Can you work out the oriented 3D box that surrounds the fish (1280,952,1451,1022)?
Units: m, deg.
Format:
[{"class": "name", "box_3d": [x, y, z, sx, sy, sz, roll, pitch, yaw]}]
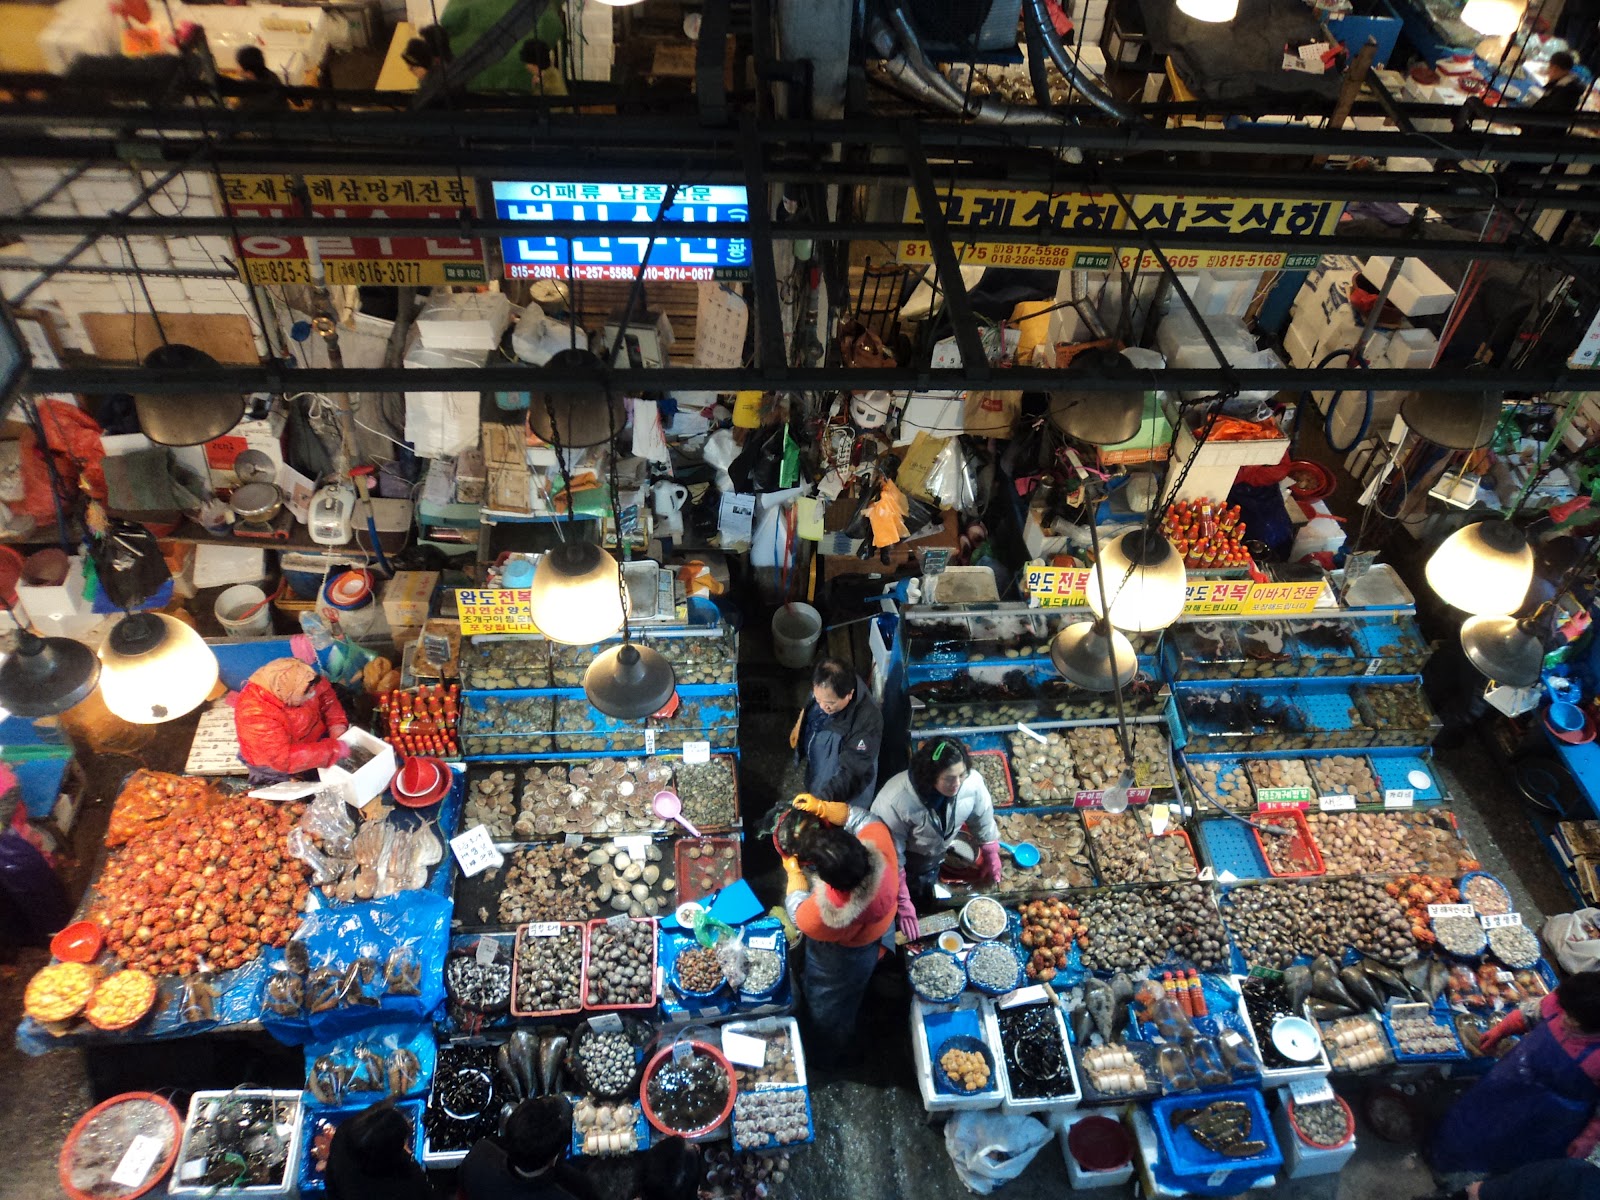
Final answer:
[{"class": "fish", "box_3d": [3.621, 2.472, 6.749, 0.681, 0.222, 0.427, -8, 19, 24]}]

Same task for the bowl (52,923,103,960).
[{"class": "bowl", "box_3d": [-4.492, 2.121, 6.523, 0.267, 0.265, 0.110, -6, -27, 1]}]

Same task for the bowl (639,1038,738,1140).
[{"class": "bowl", "box_3d": [-0.656, 2.892, 6.215, 0.588, 0.539, 0.276, -3, -27, -5]}]

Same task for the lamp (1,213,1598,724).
[{"class": "lamp", "box_3d": [0.003, -1.031, 4.606, 6.162, 1.185, 1.069, -3, -26, -4]}]

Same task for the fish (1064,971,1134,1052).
[{"class": "fish", "box_3d": [1.899, 2.579, 6.588, 0.413, 0.391, 0.107, -10, -27, 7]}]

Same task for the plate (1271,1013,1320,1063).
[{"class": "plate", "box_3d": [3.066, 2.715, 6.498, 0.290, 0.290, 0.087, -1, -28, -10]}]

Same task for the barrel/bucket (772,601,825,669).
[{"class": "barrel/bucket", "box_3d": [-0.013, 0.306, 8.658, 0.352, 0.352, 0.354, -40, -25, -24]}]
